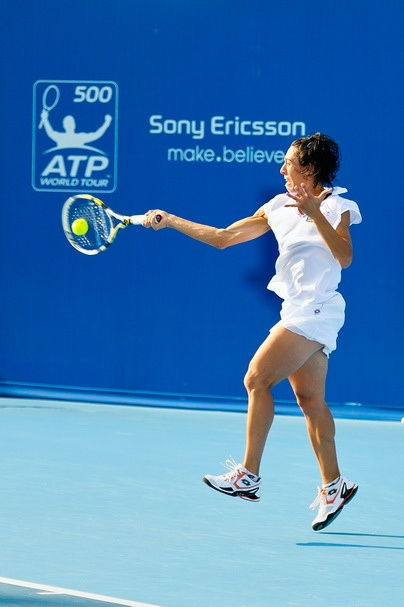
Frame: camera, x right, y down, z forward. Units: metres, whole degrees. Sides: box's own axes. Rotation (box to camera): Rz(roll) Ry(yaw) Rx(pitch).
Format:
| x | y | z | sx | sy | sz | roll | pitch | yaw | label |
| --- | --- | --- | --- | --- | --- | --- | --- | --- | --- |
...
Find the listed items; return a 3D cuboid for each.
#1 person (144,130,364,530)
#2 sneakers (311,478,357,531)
| x | y | z | sx | sy | sz | roll | pitch | yaw | label |
| --- | --- | --- | --- | --- | --- | --- | --- | --- | --- |
| 0.261 | 0.093 | 2.519 | 0.671 | 1.144 | 0.538 | 2 | -1 | 26 | person |
| 0.514 | 0.778 | 2.495 | 0.111 | 0.224 | 0.076 | 39 | 4 | -5 | sneakers |
